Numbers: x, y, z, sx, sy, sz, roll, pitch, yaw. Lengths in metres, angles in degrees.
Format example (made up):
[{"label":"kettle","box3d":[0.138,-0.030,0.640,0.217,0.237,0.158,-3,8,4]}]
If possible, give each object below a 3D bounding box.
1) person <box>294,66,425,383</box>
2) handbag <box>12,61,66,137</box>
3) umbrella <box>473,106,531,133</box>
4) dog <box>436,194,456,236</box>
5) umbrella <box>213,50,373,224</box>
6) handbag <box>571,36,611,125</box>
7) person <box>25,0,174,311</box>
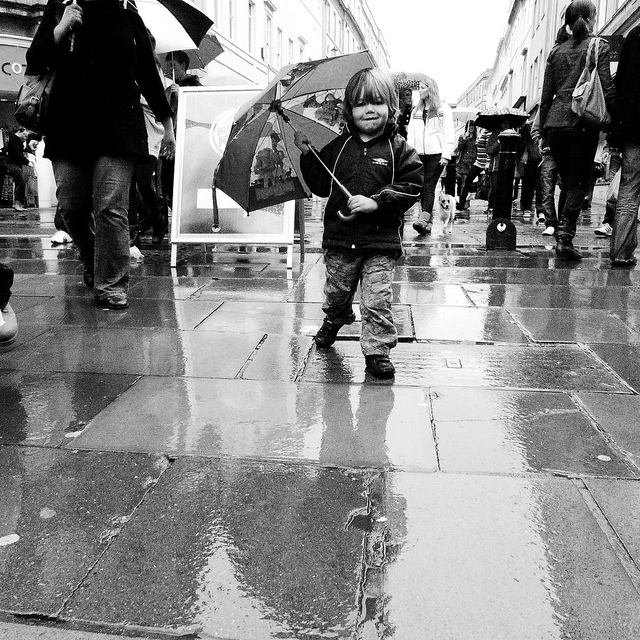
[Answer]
[{"label":"person","box3d":[0.242,-0.489,2.926,0.419,1.394,0.647,-8,15,-35]},{"label":"handbag","box3d":[-1.952,-1.597,4.115,0.217,0.404,0.278,36,19,1]},{"label":"umbrella","box3d":[3.043,-3.393,10.170,0.785,0.540,2.084,3,14,14]},{"label":"dog","box3d":[1.921,-1.624,9.250,0.226,0.551,0.913,6,10,13]},{"label":"umbrella","box3d":[-0.209,-1.066,3.508,0.766,0.880,0.706,-4,13,-19]},{"label":"handbag","box3d":[2.666,-2.354,5.931,0.269,0.858,0.462,-1,12,-4]},{"label":"person","box3d":[-1.514,-1.171,4.292,0.729,2.029,0.728,6,13,27]}]
